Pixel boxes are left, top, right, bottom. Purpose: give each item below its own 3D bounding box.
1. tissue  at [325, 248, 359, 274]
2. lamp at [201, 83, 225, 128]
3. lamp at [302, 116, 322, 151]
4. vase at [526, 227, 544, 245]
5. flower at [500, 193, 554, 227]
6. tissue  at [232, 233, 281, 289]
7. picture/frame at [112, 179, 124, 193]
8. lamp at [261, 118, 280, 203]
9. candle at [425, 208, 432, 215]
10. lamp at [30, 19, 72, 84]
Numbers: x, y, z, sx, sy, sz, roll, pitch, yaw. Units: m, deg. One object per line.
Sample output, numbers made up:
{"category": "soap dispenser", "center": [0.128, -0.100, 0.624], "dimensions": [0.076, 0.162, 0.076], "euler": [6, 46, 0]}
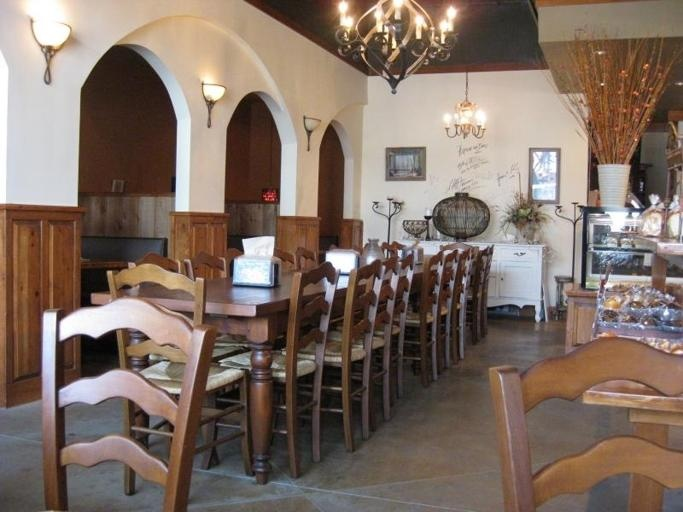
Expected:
{"category": "tissue ", "center": [-0.007, 0.035, 4.266], "dimensions": [0.226, 0.172, 0.175], "euler": [4, 6, 31]}
{"category": "lamp", "center": [-1.333, -1.575, 5.917], "dimensions": [0.181, 0.463, 0.180], "euler": [1, 3, 19]}
{"category": "lamp", "center": [-0.388, -1.646, 7.672], "dimensions": [0.186, 0.464, 0.369], "euler": [1, 3, 9]}
{"category": "vase", "center": [2.883, -0.310, 8.527], "dimensions": [0.262, 0.275, 0.228], "euler": [-7, 10, -41]}
{"category": "flower", "center": [2.752, -0.657, 8.498], "dimensions": [0.502, 0.376, 0.531], "euler": [-1, 4, 6]}
{"category": "tissue ", "center": [-0.552, 0.040, 3.669], "dimensions": [0.279, 0.323, 0.188], "euler": [3, 1, 12]}
{"category": "picture/frame", "center": [-3.507, -1.110, 8.937], "dimensions": [0.201, 0.200, 0.387], "euler": [-1, 4, -22]}
{"category": "lamp", "center": [-1.242, -1.727, 10.047], "dimensions": [0.320, 1.527, 1.137], "euler": [0, 3, -8]}
{"category": "candle", "center": [1.373, -0.693, 8.994], "dimensions": [0.110, 0.127, 0.115], "euler": [2, 3, 21]}
{"category": "lamp", "center": [-2.198, -1.531, 4.283], "dimensions": [0.284, 0.414, 0.240], "euler": [5, -6, -15]}
